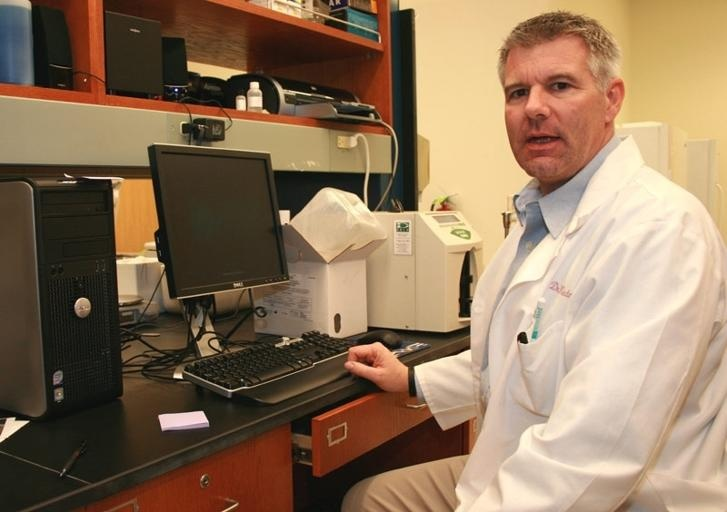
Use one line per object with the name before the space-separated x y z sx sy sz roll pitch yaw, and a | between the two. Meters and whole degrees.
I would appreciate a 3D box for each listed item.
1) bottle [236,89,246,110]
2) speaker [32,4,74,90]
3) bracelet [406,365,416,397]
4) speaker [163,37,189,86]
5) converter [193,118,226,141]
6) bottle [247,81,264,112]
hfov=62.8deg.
bottle | -0.450 -0.567 2.184 0.040 0.067 0.177 -3 13 -11
speaker | -0.904 -0.602 1.721 0.104 0.230 0.078 -8 14 -28
bracelet | 0.140 0.373 1.767 0.023 0.075 0.077 -4 13 5
speaker | -0.635 -0.651 1.987 0.086 0.162 0.098 -7 14 -24
converter | -0.514 -0.420 1.982 0.065 0.089 0.117 1 4 23
bottle | -0.407 -0.595 2.222 0.062 0.109 0.159 -3 13 -9
